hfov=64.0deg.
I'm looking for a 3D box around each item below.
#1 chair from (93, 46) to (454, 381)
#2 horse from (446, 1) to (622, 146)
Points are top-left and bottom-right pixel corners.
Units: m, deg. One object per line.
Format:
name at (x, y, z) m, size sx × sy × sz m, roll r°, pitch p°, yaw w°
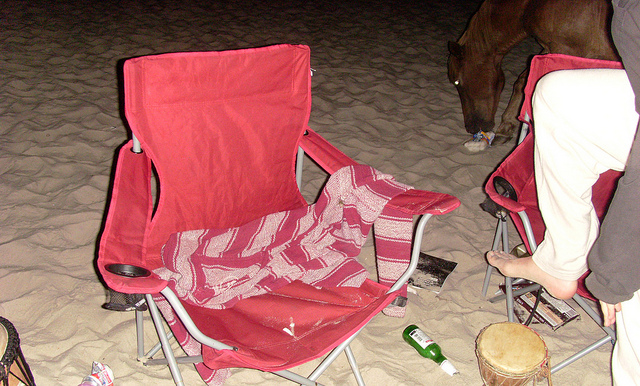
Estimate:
chair at (-0.390, 0.156, 2.922) m, size 1.635 × 1.421 × 1.623 m, roll -25°, pitch 54°, yaw -20°
horse at (1.786, -1.035, 4.338) m, size 1.091 × 1.121 × 1.152 m, roll 2°, pitch 88°, yaw -34°
